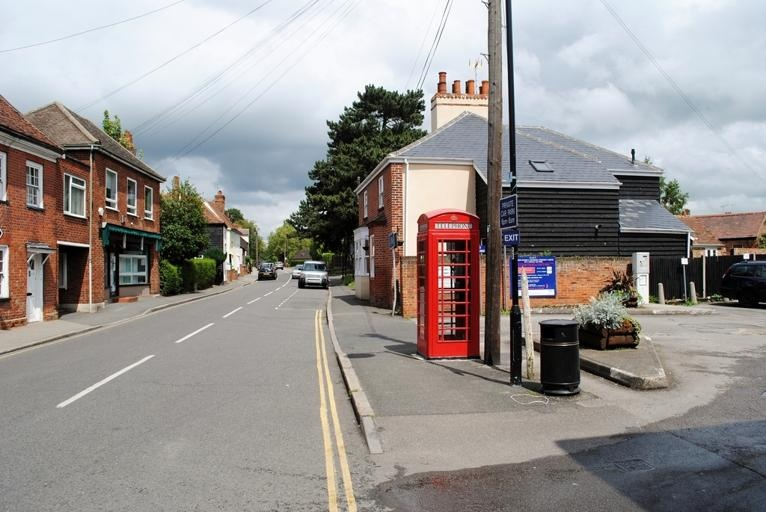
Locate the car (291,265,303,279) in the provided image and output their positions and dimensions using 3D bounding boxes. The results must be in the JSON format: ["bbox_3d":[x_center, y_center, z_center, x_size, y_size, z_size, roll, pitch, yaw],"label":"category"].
[{"bbox_3d":[-9.281,1.690,68.008,1.249,1.053,2.945,0,-5,-18],"label":"car"}]

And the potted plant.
[{"bbox_3d":[5.957,1.665,16.790,1.477,1.188,1.544,2,4,8],"label":"potted plant"}]

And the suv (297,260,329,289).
[{"bbox_3d":[-5.233,1.610,47.717,2.081,1.783,3.249,-2,11,-8],"label":"suv"}]

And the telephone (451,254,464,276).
[{"bbox_3d":[1.930,0.199,16.412,0.373,0.560,0.240,-1,11,-4],"label":"telephone"}]
